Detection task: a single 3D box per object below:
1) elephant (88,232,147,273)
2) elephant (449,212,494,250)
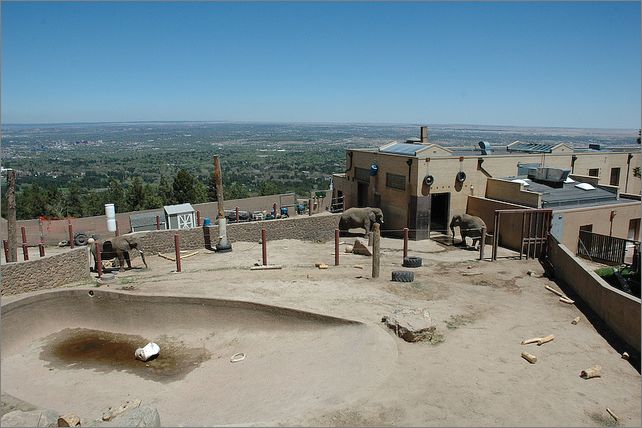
[{"bbox_3d":[-10.430,2.050,23.526,2.765,1.516,0.764,-4,-3,-8],"label":"elephant"},{"bbox_3d":[9.288,0.899,28.676,1.840,1.964,2.144,2,-3,-13],"label":"elephant"}]
